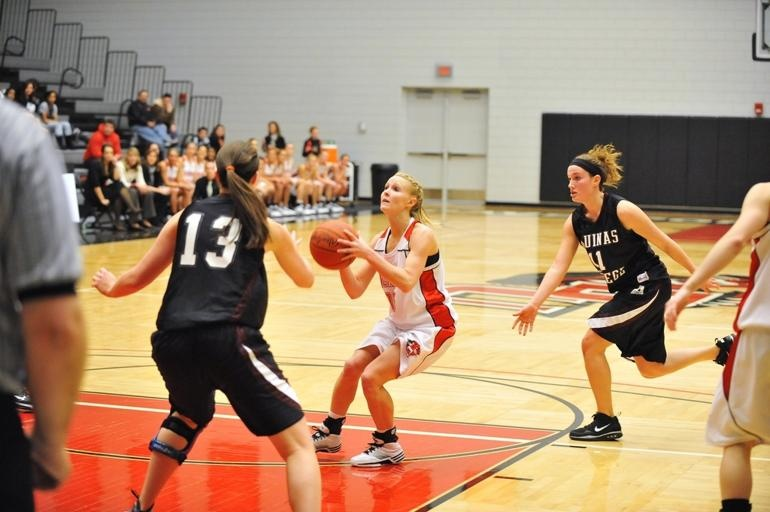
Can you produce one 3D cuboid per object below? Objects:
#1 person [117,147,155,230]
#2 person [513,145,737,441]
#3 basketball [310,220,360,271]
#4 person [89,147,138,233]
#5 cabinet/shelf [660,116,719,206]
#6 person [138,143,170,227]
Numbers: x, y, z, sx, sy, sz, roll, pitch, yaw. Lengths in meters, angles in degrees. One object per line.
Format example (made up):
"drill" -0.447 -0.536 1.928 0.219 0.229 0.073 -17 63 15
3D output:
"person" -4.834 -1.324 13.166 0.558 1.421 1.336 -10 25 -36
"person" 1.640 0.180 4.670 0.959 2.109 1.235 1 2 21
"basketball" -0.315 -0.039 3.906 0.275 0.280 0.280 9 28 -35
"person" -5.233 -1.189 12.827 0.735 1.614 0.679 -4 -4 36
"cabinet/shelf" 8.670 -2.617 18.903 0.778 2.763 1.141 0 45 1
"person" -4.699 -1.390 13.762 0.576 1.752 0.533 -2 -12 7
